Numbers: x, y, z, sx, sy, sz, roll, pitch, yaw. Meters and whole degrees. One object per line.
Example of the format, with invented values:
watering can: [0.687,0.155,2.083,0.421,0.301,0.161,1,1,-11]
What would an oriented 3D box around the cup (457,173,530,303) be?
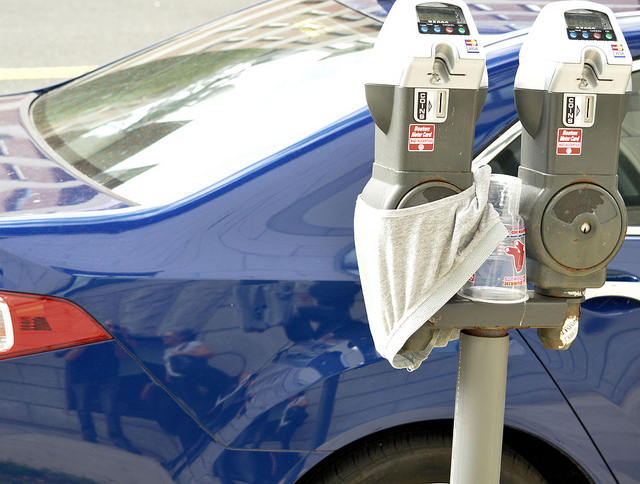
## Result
cup: [0.493,-0.021,2.378,0.199,0.371,0.165,-4,19,-20]

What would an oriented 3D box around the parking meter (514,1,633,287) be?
parking meter: [0.688,-0.271,2.350,0.322,0.789,0.217,3,16,11]

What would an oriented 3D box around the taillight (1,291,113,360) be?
taillight: [-0.789,0.214,2.479,0.300,0.140,0.260,1,3,-1]
